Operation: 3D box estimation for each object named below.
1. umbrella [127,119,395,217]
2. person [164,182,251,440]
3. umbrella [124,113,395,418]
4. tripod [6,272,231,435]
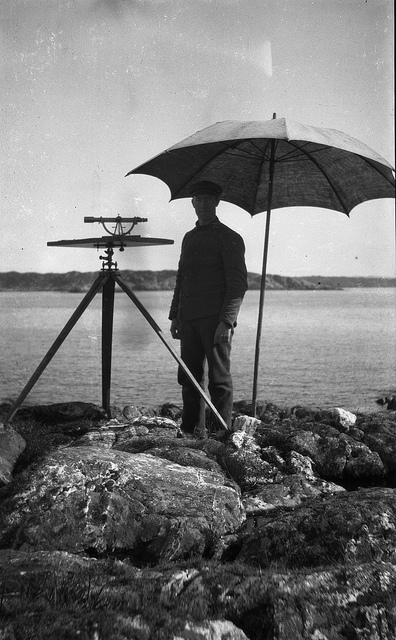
[{"bbox_3d":[0.473,-0.918,4.199,1.520,0.598,0.717,5,7,-4],"label":"umbrella"},{"bbox_3d":[0.028,-0.053,4.430,0.535,1.575,0.346,6,6,9],"label":"person"},{"bbox_3d":[0.421,-0.383,4.673,1.482,1.819,1.654,9,-5,13],"label":"umbrella"},{"bbox_3d":[-0.474,0.047,4.436,0.991,1.041,1.166,8,-8,-44],"label":"tripod"}]
